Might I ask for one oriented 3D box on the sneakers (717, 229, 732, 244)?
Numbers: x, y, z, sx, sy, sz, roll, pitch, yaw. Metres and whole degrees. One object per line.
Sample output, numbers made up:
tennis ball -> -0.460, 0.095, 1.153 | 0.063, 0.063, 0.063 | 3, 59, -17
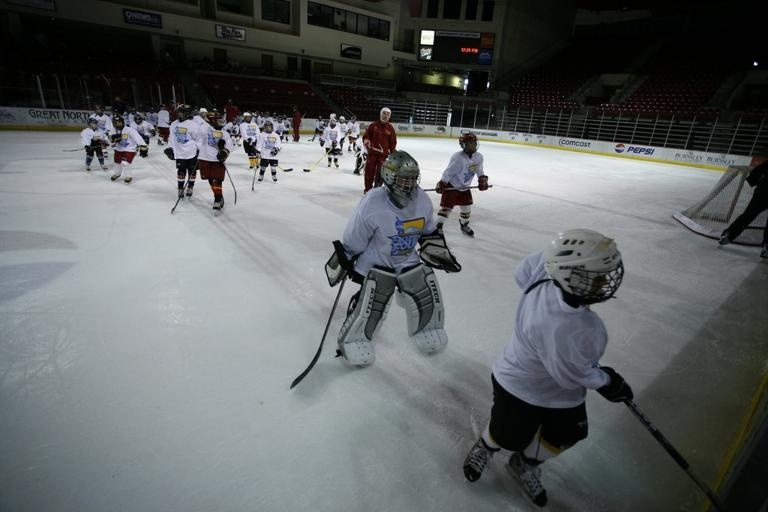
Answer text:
sneakers -> 6.391, -0.368, 7.609 | 0.142, 0.168, 0.430 | -17, 12, 42

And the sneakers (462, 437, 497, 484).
sneakers -> 0.842, 1.620, 3.400 | 0.184, 0.168, 0.473 | -35, 7, 48

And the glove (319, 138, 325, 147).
glove -> -2.718, -4.943, 17.893 | 0.235, 0.263, 0.676 | 13, 0, -11

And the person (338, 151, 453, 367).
person -> 0.130, 0.056, 4.097 | 1.184, 2.109, 0.543 | -4, 24, -18

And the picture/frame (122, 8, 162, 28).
picture/frame -> -12.516, -12.072, 20.862 | 1.429, 0.634, 0.190 | -11, 30, -41

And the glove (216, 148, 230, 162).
glove -> -3.150, -1.935, 7.935 | 0.212, 0.258, 0.201 | -2, 23, -14

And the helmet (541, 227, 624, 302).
helmet -> 1.440, 0.041, 2.951 | 0.474, 0.453, 0.535 | -14, 14, -26

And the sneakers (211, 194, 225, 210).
sneakers -> -3.211, -1.006, 7.825 | 0.148, 0.181, 0.419 | 6, 52, -10

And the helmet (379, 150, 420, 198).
helmet -> 0.153, -0.778, 3.989 | 0.350, 0.437, 0.450 | -13, 25, -33

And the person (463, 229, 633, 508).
person -> 1.403, 1.047, 3.453 | 1.256, 2.249, 1.125 | -6, 42, 2
